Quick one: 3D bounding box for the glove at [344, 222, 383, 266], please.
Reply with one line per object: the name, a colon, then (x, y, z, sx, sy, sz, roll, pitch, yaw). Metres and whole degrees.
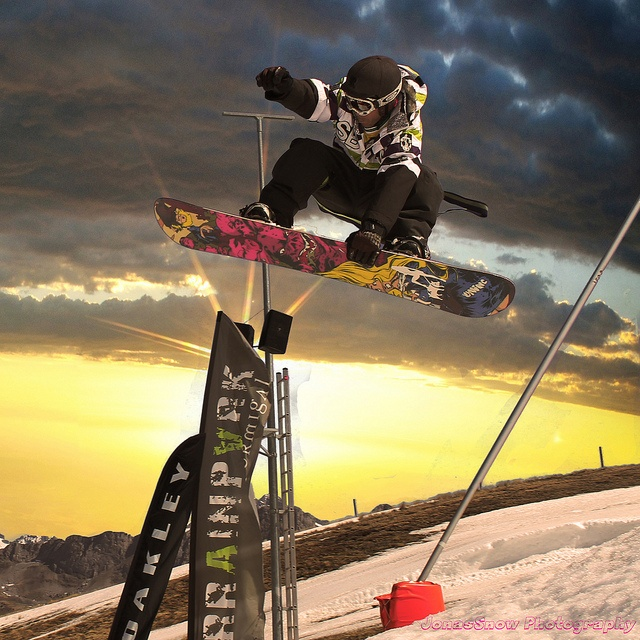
glove: (0.447, -0.739, 6.268, 0.369, 0.396, 0.116, 17, 24, -2)

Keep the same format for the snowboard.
snowboard: (0.256, -0.720, 6.600, 5.316, 0.575, 0.209, 10, 29, 1)

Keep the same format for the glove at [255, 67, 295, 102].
glove: (-0.435, -2.287, 6.359, 0.309, 0.248, 0.400, 9, 3, 4)

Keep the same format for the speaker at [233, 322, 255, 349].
speaker: (-0.950, 0.200, 8.010, 0.341, 0.275, 0.178, 17, 31, 31)
